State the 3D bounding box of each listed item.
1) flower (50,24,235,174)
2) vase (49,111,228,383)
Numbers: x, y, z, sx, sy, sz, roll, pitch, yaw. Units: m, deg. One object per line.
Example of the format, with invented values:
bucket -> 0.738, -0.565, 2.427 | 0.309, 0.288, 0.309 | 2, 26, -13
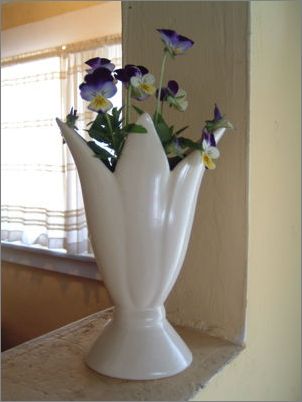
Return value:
flower -> 0.005, -0.092, 0.499 | 0.194, 0.223, 0.163 | 5, -1, 13
vase -> -0.021, 0.054, 0.474 | 0.190, 0.312, 0.198 | 1, 4, 9
